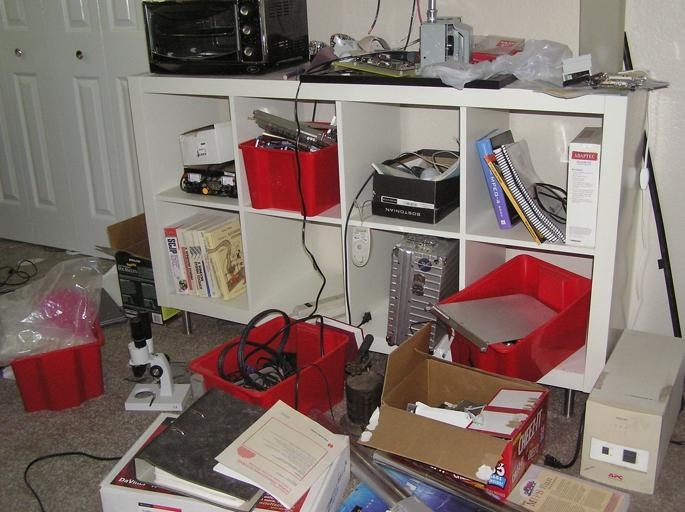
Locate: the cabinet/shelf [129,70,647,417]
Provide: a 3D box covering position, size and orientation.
[{"bbox_3d":[0.201,-0.053,1.980,1.450,0.924,0.509,9,22,30],"label":"cabinet/shelf"}]

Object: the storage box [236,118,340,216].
[{"bbox_3d":[-0.169,-0.342,2.158,0.379,0.371,0.288,10,28,20],"label":"storage box"}]

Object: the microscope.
[{"bbox_3d":[-0.702,0.391,2.072,0.217,0.330,0.185,-1,14,5],"label":"microscope"}]

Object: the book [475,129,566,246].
[{"bbox_3d":[0.572,-0.228,1.872,0.113,0.356,0.346,-20,-2,21],"label":"book"}]
